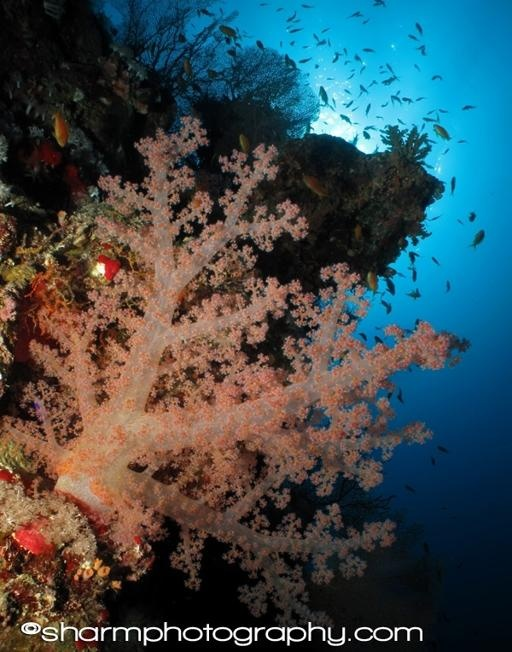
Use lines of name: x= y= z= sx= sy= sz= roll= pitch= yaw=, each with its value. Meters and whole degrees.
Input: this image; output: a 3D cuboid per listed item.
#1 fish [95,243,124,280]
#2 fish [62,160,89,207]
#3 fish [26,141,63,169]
fish: x=-1.947 y=-0.834 z=8.879 sx=0.326 sy=0.308 sz=0.433 roll=2 pitch=57 yaw=-3
fish: x=-2.374 y=-1.875 z=8.866 sx=0.320 sy=0.477 sz=0.132 roll=-28 pitch=20 yaw=-36
fish: x=-2.678 y=-2.129 z=8.527 sx=0.139 sy=0.387 sz=0.279 roll=26 pitch=102 yaw=38
